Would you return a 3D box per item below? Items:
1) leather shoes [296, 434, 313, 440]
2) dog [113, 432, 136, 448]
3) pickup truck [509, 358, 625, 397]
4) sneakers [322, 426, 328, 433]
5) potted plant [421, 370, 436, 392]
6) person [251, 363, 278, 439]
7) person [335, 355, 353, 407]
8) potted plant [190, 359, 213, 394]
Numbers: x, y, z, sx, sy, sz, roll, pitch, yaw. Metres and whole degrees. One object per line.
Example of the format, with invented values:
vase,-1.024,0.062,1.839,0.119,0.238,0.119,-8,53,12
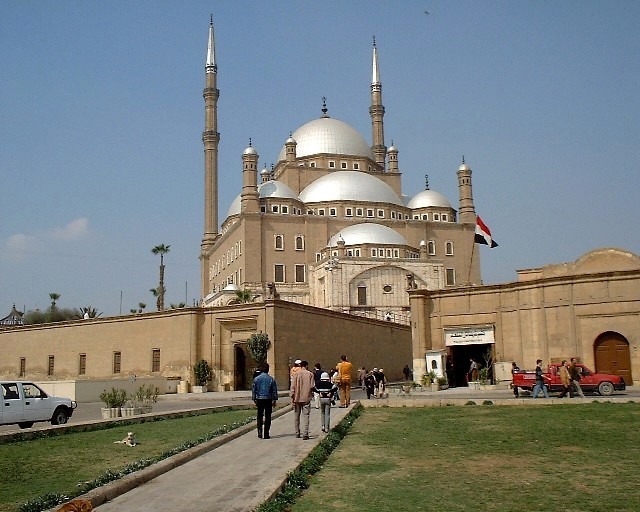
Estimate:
leather shoes,-0.327,3.831,15.540,0.135,0.175,0.403,6,-16,-34
dog,-4.007,3.853,15.431,0.277,0.268,0.567,5,-8,-37
pickup truck,8.351,4.212,24.749,3.636,1.229,1.617,-3,-8,13
sneakers,0.113,3.819,16.157,0.137,0.153,0.384,0,-13,-2
potted plant,4.844,5.532,32.360,0.684,0.716,0.657,0,-10,-7
person,-1.226,3.166,16.128,0.503,1.642,1.462,-1,-12,-5
person,0.709,3.675,21.515,0.487,1.509,0.467,5,-17,-11
potted plant,-5.858,5.883,36.017,0.863,1.589,1.020,-4,-12,8
